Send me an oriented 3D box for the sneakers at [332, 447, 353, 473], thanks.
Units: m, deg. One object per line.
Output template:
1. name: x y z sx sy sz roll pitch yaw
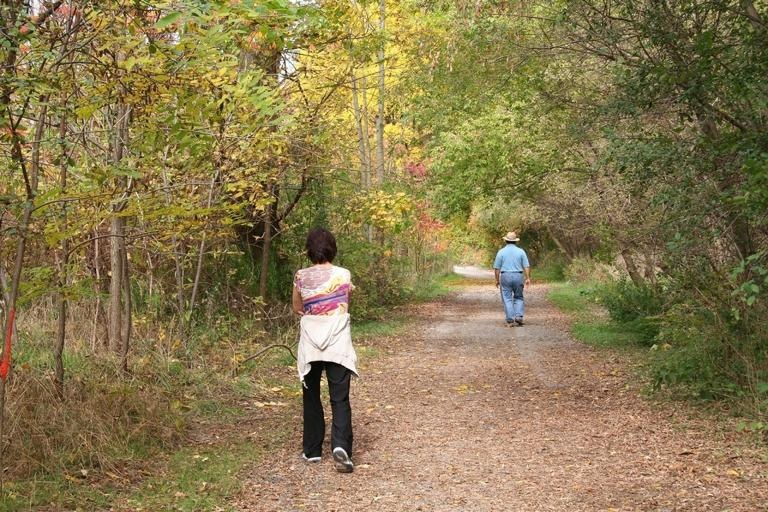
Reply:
1. sneakers: -0.445 2.261 8.502 0.154 0.328 0.148 -16 11 10

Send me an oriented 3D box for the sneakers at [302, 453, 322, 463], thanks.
1. sneakers: -0.820 2.324 8.758 0.208 0.090 0.080 -6 -8 41

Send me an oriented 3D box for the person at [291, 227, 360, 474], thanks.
1. person: -0.664 1.037 8.677 0.683 2.653 0.952 -2 9 -7

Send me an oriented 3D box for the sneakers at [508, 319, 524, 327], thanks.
1. sneakers: 3.020 1.496 17.342 0.357 0.151 0.288 -1 8 -4
